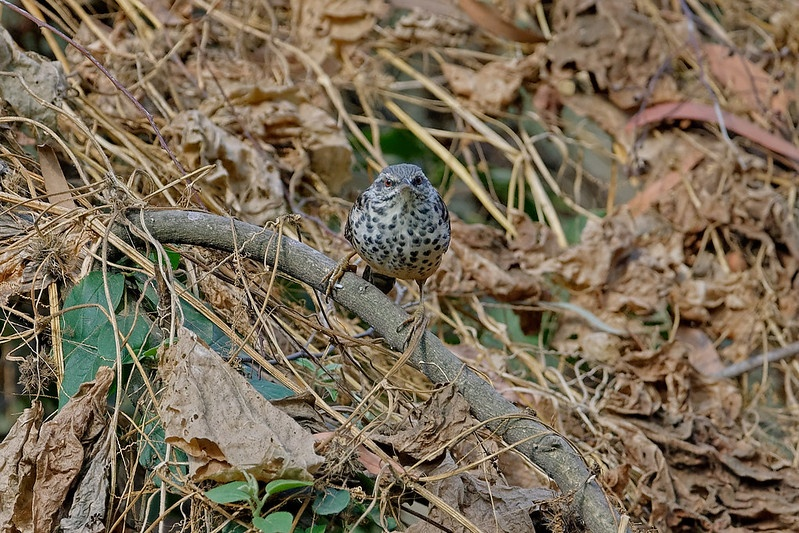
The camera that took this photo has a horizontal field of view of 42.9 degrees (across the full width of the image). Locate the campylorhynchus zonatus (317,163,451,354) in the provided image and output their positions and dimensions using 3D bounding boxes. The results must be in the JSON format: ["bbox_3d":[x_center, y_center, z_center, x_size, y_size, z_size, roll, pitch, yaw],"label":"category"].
[{"bbox_3d":[0.028,-0.136,4.692,0.456,0.616,0.875,19,21,-5],"label":"campylorhynchus zonatus"}]
